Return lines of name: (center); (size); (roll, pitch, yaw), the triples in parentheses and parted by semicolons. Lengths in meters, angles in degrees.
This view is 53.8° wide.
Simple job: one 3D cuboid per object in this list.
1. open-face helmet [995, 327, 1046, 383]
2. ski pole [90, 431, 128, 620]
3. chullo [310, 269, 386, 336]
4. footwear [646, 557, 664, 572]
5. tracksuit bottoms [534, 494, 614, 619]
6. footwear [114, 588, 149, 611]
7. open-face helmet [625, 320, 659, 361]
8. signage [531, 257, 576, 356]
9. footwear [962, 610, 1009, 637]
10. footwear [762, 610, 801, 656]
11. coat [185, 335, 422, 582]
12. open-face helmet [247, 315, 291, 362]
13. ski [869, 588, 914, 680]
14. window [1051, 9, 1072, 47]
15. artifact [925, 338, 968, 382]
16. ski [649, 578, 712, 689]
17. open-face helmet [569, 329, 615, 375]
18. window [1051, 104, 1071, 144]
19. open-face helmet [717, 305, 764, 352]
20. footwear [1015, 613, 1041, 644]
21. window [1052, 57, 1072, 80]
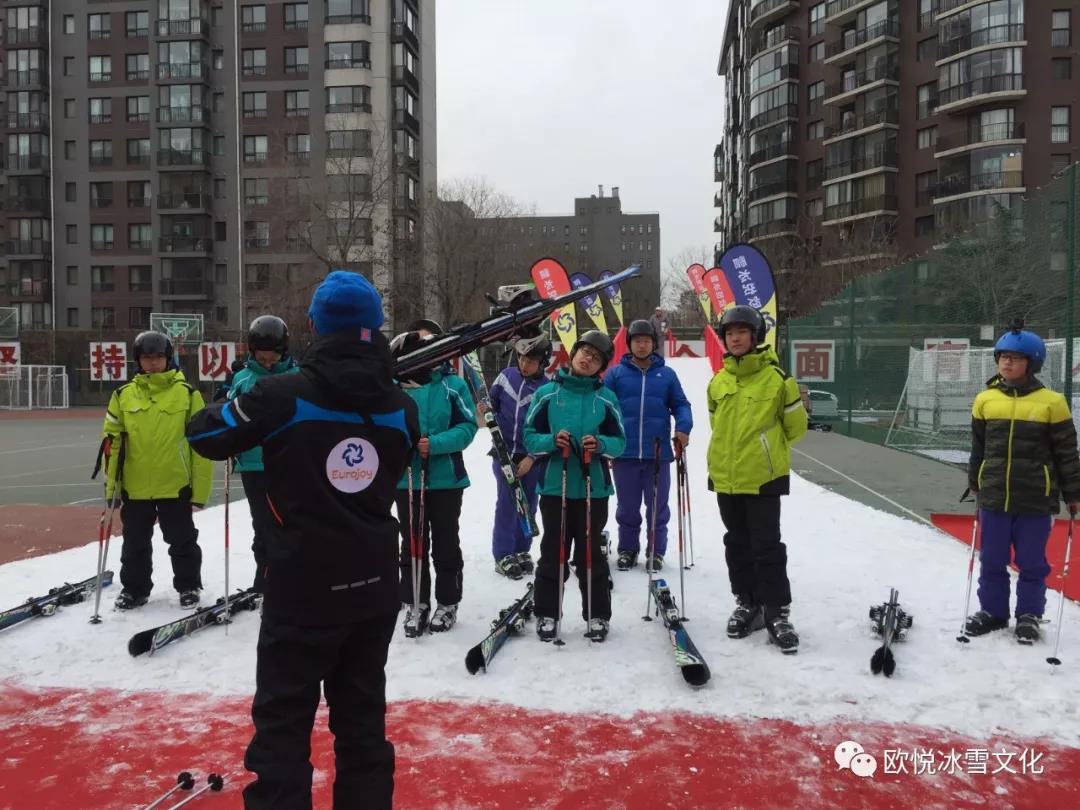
open-face helmet: (4.660, -0.506, 10.349); (0.481, 0.450, 0.392); (2, -2, -22)
ski pole: (-4.352, 1.266, 10.786); (0.238, 2.130, 0.255); (7, 16, -28)
chullo: (-1.476, -0.787, 8.155); (0.412, 0.548, 0.565); (0, 9, -23)
footwear: (1.268, 1.744, 11.637); (0.182, 0.208, 0.462); (0, -7, 6)
tracksuit bottoms: (0.333, 1.361, 10.493); (0.669, 0.348, 1.823); (0, 49, 3)
footwear: (-4.115, 1.996, 10.798); (0.139, 0.155, 0.326); (3, -10, 3)
open-face helmet: (1.148, -0.723, 11.918); (0.309, 0.450, 0.434); (1, 2, 5)
signage: (0.431, -2.106, 23.314); (0.742, 0.129, 3.128); (-18, 49, -5)
footwear: (4.213, 2.082, 10.175); (0.501, 0.260, 0.195); (-1, 2, -4)
footwear: (2.269, 2.135, 9.972); (0.170, 0.231, 0.500); (-7, -4, -2)
coat: (-1.707, 0.428, 8.351); (1.985, 2.136, 1.198); (-3, 15, -33)
open-face helmet: (-2.642, -0.676, 10.457); (0.327, 0.417, 0.423); (1, 18, -9)
ski: (3.261, 2.113, 9.944); (0.299, 0.286, 1.049); (2, 23, 16)
window: (20.931, -15.145, 42.749); (0.739, 1.418, 0.103); (-1, 3, 5)
artifact: (6.737, -0.735, 17.571); (0.562, 0.658, 0.636); (0, 0, 28)
ski: (1.318, 2.112, 10.126); (0.203, 0.330, 1.546); (-5, 8, -3)
open-face helmet: (0.480, -0.502, 10.436); (0.330, 0.443, 0.444); (30, -2, -9)
window: (20.892, -11.284, 42.746); (0.743, 1.458, 0.246); (0, 4, 19)
open-face helmet: (1.979, -0.771, 10.430); (0.371, 0.471, 0.353); (-1, 7, 22)
footwear: (4.612, 2.120, 10.035); (0.276, 0.230, 0.242); (-1, 3, 7)
window: (21.022, -13.590, 42.846); (0.752, 0.818, 0.196); (4, 1, 8)
